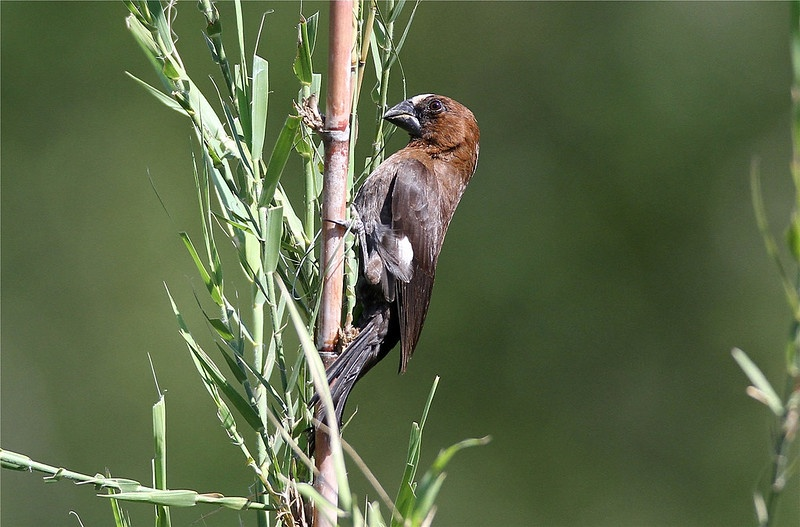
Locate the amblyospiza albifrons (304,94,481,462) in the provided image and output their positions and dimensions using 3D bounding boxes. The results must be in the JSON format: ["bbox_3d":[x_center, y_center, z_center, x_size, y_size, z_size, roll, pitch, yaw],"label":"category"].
[{"bbox_3d":[0.007,0.008,2.913,0.396,1.250,0.506,15,-44,-8],"label":"amblyospiza albifrons"}]
